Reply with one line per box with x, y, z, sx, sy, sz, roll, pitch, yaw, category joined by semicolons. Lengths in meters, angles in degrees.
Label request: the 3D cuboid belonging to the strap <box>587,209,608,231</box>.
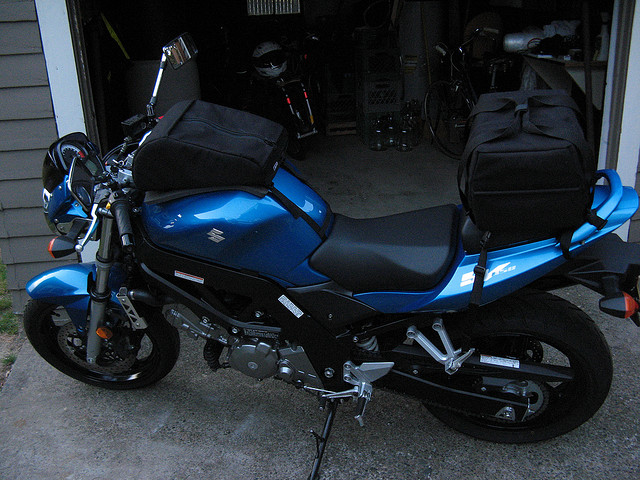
1.163;-0.092;2.176;0.070;0.027;0.069;35;81;12;strap

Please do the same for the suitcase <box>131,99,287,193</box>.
-0.508;-0.437;2.404;0.556;0.223;0.537;8;31;2;suitcase

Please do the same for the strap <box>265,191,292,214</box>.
-0.194;-0.171;2.418;0.141;0.016;0.046;37;57;11;strap

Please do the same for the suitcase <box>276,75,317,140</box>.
-0.313;-1.649;6.815;0.513;0.876;0.322;-18;7;-34;suitcase

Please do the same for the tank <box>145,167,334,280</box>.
-0.352;-0.100;2.593;0.722;0.535;0.683;12;23;12;tank

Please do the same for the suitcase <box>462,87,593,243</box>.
0.875;-0.207;2.447;0.660;0.478;0.779;-5;41;19;suitcase
